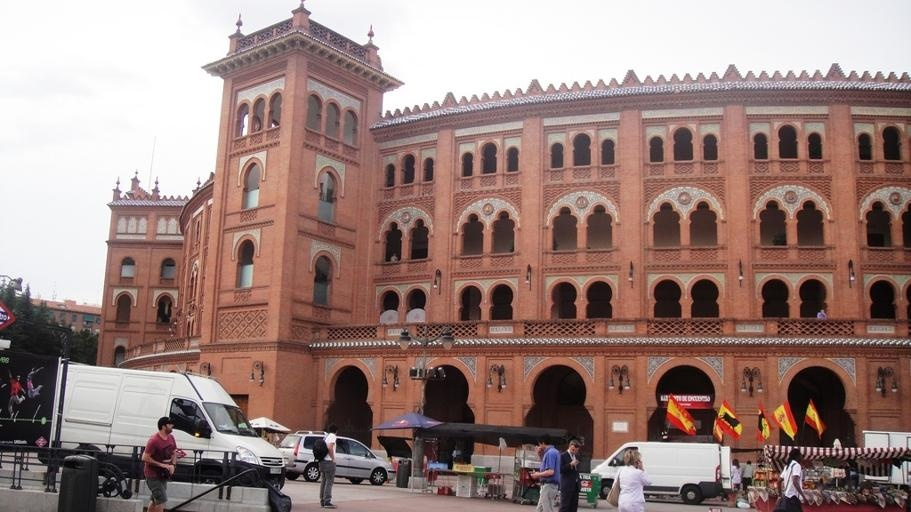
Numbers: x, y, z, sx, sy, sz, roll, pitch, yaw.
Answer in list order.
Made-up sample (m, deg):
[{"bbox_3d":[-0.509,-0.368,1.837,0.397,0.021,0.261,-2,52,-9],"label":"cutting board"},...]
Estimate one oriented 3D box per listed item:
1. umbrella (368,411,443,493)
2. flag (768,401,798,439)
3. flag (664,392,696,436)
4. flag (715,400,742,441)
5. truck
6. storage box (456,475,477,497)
[{"bbox_3d":[-2.049,9.979,43.295,2.438,3.883,1.117,-1,-19,6],"label":"umbrella"},{"bbox_3d":[18.432,9.273,47.891,1.018,2.146,4.156,-6,-18,19],"label":"flag"},{"bbox_3d":[12.481,8.830,47.546,1.204,2.169,1.356,-2,-19,10],"label":"flag"},{"bbox_3d":[15.382,9.314,48.322,1.335,2.116,2.005,-6,-19,20],"label":"flag"},{"bbox_3d":[-12.479,6.701,35.839,13.159,5.017,4.510,-1,-8,8],"label":"truck"},{"bbox_3d":[0.584,11.243,41.396,1.088,1.012,0.521,4,-19,-11],"label":"storage box"}]
